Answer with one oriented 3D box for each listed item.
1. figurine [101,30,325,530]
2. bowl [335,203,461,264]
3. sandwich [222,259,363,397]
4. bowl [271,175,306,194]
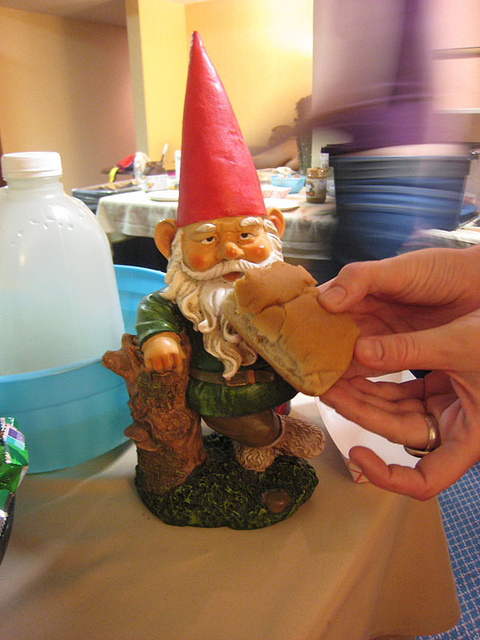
[{"bbox_3d":[-0.032,-0.038,0.674,0.358,0.612,0.245,-8,17,-19],"label":"figurine"},{"bbox_3d":[0.485,-0.293,1.581,0.389,0.226,0.389,-3,18,1],"label":"bowl"},{"bbox_3d":[0.061,0.002,0.566,0.118,0.122,0.139,-16,28,-28],"label":"sandwich"},{"bbox_3d":[0.234,-0.689,2.445,0.138,0.055,0.129,-1,22,0],"label":"bowl"}]
